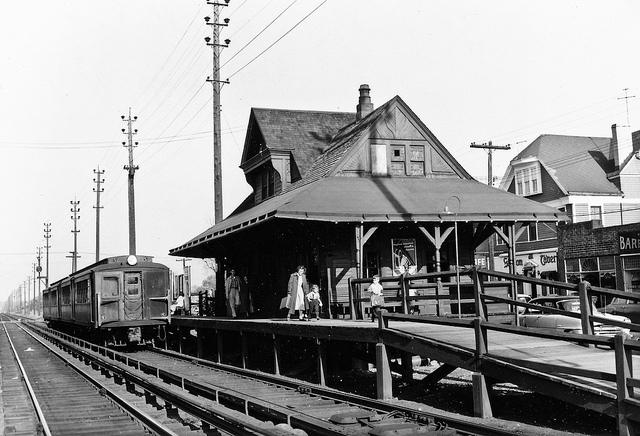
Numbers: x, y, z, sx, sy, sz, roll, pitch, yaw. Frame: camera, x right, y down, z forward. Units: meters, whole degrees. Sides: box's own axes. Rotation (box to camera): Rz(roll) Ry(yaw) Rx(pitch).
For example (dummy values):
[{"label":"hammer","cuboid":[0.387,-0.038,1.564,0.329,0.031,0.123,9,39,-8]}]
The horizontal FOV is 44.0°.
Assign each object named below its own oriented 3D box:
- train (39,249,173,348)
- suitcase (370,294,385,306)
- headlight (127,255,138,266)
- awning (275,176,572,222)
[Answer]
[{"label":"train","cuboid":[-10.117,3.889,35.781,3.008,3.764,11.822,3,-8,-30]},{"label":"suitcase","cuboid":[1.619,2.352,22.674,0.372,0.397,0.603,-3,-10,1]},{"label":"headlight","cuboid":[-7.294,1.651,31.061,0.451,0.423,0.289,5,-12,-40]},{"label":"awning","cuboid":[3.137,-0.758,27.647,10.211,2.345,3.903,-1,-10,-14]}]
